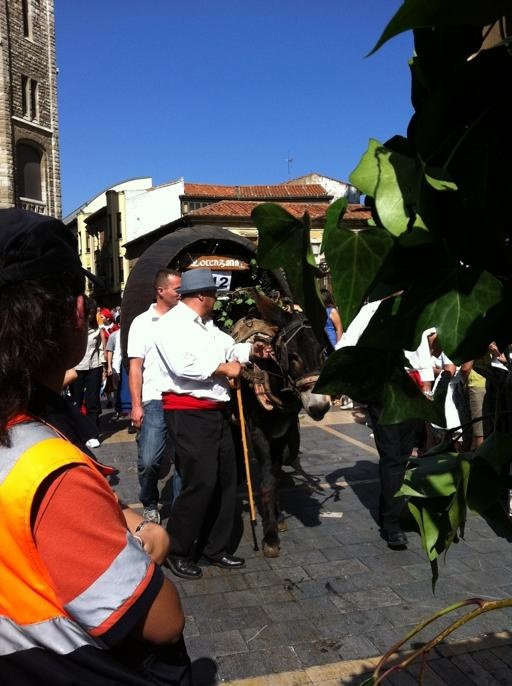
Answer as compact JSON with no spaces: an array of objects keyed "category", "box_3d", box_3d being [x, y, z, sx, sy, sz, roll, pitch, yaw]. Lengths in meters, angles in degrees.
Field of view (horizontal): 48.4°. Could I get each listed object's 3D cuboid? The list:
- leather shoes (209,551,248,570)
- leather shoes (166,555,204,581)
[{"category":"leather shoes","box_3d":[-0.241,1.764,4.586,0.263,0.082,0.119,-1,-3,13]},{"category":"leather shoes","box_3d":[-0.560,1.756,4.437,0.313,0.101,0.127,-1,-2,34]}]
